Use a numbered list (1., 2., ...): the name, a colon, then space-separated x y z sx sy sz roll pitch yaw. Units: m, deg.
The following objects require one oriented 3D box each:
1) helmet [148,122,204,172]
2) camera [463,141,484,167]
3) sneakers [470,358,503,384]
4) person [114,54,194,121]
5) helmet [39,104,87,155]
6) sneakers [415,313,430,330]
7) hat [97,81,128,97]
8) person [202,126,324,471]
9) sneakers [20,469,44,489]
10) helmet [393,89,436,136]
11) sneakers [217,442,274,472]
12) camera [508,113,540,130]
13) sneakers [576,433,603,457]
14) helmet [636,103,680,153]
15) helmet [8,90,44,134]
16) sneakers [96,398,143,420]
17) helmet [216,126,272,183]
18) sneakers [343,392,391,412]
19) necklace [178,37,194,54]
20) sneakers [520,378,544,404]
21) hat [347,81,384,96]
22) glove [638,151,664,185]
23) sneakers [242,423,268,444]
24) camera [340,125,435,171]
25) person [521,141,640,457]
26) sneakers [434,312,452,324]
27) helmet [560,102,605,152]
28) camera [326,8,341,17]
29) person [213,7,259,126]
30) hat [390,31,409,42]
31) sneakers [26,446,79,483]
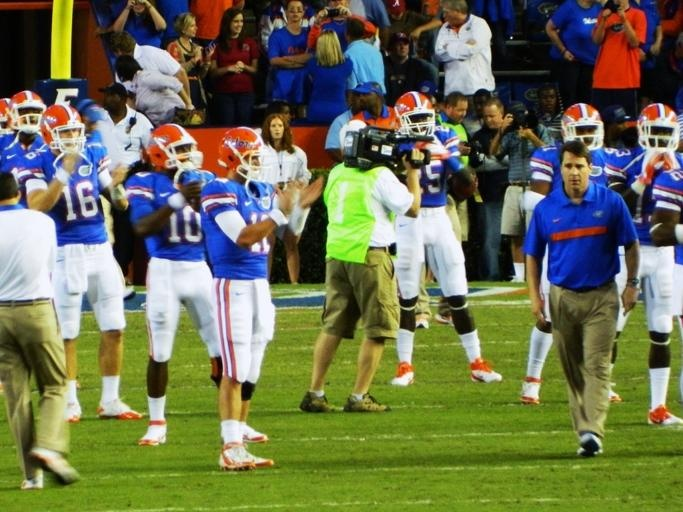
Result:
1. helmet: -1.368 -0.909 12.237 0.495 0.329 0.354 8 16 18
2. camera: 1.525 -1.141 17.023 0.091 0.248 0.242 0 -1 38
3. sneakers: 1.346 1.048 14.107 0.306 0.216 0.190 1 12 5
4. person: -2.195 -1.925 17.534 0.784 0.366 0.377 25 10 -26
5. helmet: -2.396 -1.112 12.944 0.435 0.358 0.323 13 18 27
6. sneakers: 0.842 0.680 15.998 0.187 0.215 0.507 -1 -5 5
7. hat: -2.483 -1.809 16.548 0.268 0.145 0.185 5 0 -19
8. person: -0.710 0.332 11.808 0.789 2.596 0.850 1 12 6
9. sneakers: -2.346 1.679 11.497 0.164 0.125 0.118 6 -4 -16
10. helmet: 0.672 -1.363 14.156 0.339 0.371 0.442 -17 32 -25
11. sneakers: -0.702 1.542 11.801 0.484 0.212 0.164 1 2 -24
12. camera: 2.017 -1.522 16.873 0.204 0.151 0.330 22 -2 -21
13. sneakers: 1.962 1.461 11.969 0.198 0.246 0.276 2 12 9
14. helmet: 2.744 -1.106 13.129 0.324 0.350 0.427 1 1 -3
15. helmet: -2.864 -1.322 14.048 0.281 0.354 0.367 -7 -10 -7
16. sneakers: -1.934 1.311 13.119 0.350 0.154 0.173 2 0 0
17. helmet: -0.777 -0.818 11.873 0.409 0.375 0.330 12 7 20
18. sneakers: 0.206 1.270 13.248 0.431 0.182 0.148 -1 7 -13
19. necklace: -1.914 -2.563 18.503 0.125 0.194 0.173 -13 3 45
20. sneakers: 1.685 1.196 13.458 0.180 0.226 0.515 1 -6 4
21. hat: 0.260 -1.749 15.812 0.330 0.150 0.234 2 -1 -4
22. glove: 2.671 -0.788 13.021 0.130 0.540 0.178 -30 57 -11
23. sneakers: -0.672 1.449 12.467 0.288 0.129 0.105 5 3 1
24. camera: 0.419 -0.898 13.018 0.736 0.354 0.483 7 2 -9
25. person: 1.886 0.303 11.988 0.886 2.317 0.786 1 13 9
26. sneakers: 1.091 0.672 16.373 0.185 0.089 0.076 12 40 -9
27. helmet: 2.167 -1.188 13.590 0.337 0.363 0.453 -2 21 5
28. camera: -0.098 -2.925 18.261 0.108 0.066 0.107 -3 15 -6
29. person: -1.340 -2.358 18.975 0.603 1.438 0.469 -1 12 -4
30. hat: 0.721 -2.682 18.715 0.146 0.113 0.206 11 12 -28
31. sneakers: -2.177 1.536 11.365 0.427 0.202 0.188 24 35 13
